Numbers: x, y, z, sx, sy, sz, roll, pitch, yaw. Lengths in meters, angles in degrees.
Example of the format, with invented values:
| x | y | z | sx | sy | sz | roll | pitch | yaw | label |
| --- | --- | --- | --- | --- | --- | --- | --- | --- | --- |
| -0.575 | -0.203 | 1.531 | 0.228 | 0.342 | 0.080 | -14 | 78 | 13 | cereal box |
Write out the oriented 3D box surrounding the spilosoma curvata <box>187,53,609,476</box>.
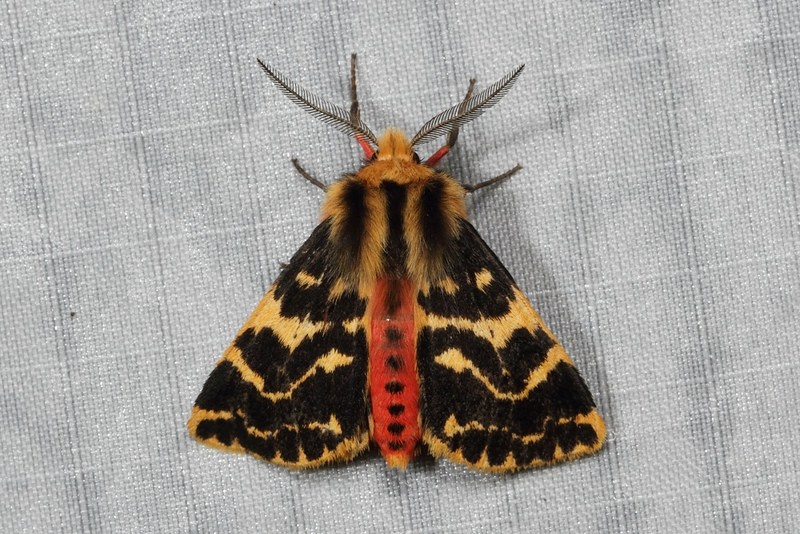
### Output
| x | y | z | sx | sy | sz | roll | pitch | yaw | label |
| --- | --- | --- | --- | --- | --- | --- | --- | --- | --- |
| -0.019 | 0.302 | 5.598 | 1.855 | 0.247 | 1.340 | 1 | 84 | 4 | spilosoma curvata |
